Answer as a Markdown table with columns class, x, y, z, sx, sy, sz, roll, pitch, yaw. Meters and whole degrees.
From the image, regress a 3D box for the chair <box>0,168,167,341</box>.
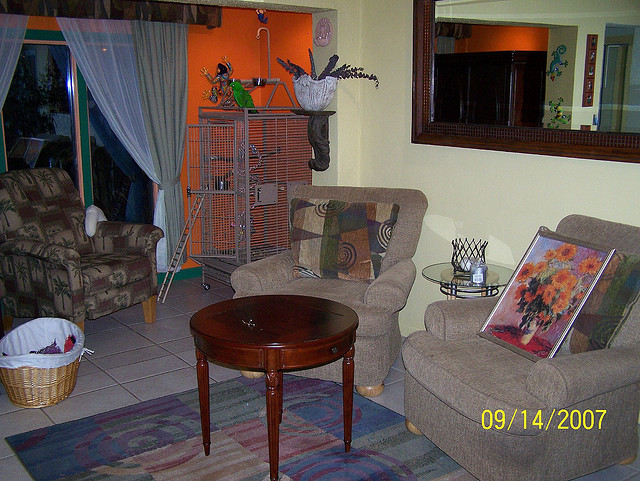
| class | x | y | z | sx | sy | sz | roll | pitch | yaw |
| --- | --- | --- | --- | --- | --- | --- | --- | --- | --- |
| chair | -2.173 | 0.074 | 4.933 | 1.458 | 1.708 | 1.478 | 8 | 13 | 31 |

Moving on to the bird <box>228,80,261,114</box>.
| class | x | y | z | sx | sy | sz | roll | pitch | yaw |
| --- | --- | --- | --- | --- | --- | --- | --- | --- | --- |
| bird | -0.774 | -1.465 | 5.053 | 0.249 | 0.341 | 0.473 | -6 | 15 | -22 |

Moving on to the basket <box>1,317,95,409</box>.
| class | x | y | z | sx | sy | sz | roll | pitch | yaw |
| --- | --- | --- | --- | --- | --- | --- | --- | --- | --- |
| basket | -1.988 | 0.828 | 3.517 | 0.679 | 0.568 | 0.555 | 16 | 17 | 38 |

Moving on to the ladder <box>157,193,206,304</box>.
| class | x | y | z | sx | sy | sz | roll | pitch | yaw |
| --- | --- | --- | --- | --- | --- | --- | --- | --- | --- |
| ladder | -1.548 | 0.121 | 5.572 | 0.442 | 1.322 | 0.388 | 3 | 16 | -17 |

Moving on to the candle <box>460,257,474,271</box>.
| class | x | y | z | sx | sy | sz | roll | pitch | yaw |
| --- | --- | --- | --- | --- | --- | --- | --- | --- | --- |
| candle | 1.017 | 0.161 | 3.409 | 0.076 | 0.080 | 0.078 | 4 | 7 | 23 |

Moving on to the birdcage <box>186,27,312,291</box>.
| class | x | y | z | sx | sy | sz | roll | pitch | yaw |
| --- | --- | --- | --- | --- | --- | --- | --- | --- | --- |
| birdcage | -0.833 | -0.704 | 5.388 | 0.928 | 3.050 | 1.595 | -6 | 16 | -38 |

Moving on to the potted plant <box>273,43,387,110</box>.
| class | x | y | z | sx | sy | sz | roll | pitch | yaw |
| --- | --- | --- | --- | --- | --- | --- | --- | --- | --- |
| potted plant | 0.112 | -1.404 | 4.421 | 0.684 | 0.344 | 0.678 | 2 | 7 | -18 |

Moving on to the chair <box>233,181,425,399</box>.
| class | x | y | z | sx | sy | sz | roll | pitch | yaw |
| --- | --- | --- | --- | --- | --- | --- | --- | --- | --- |
| chair | 0.060 | 0.332 | 3.812 | 1.379 | 1.388 | 1.192 | 6 | 11 | 29 |

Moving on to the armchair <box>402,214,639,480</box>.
| class | x | y | z | sx | sy | sz | roll | pitch | yaw |
| --- | --- | --- | --- | --- | --- | --- | --- | --- | --- |
| armchair | 1.110 | 0.592 | 3.032 | 1.394 | 1.496 | 1.253 | -5 | 12 | -23 |
